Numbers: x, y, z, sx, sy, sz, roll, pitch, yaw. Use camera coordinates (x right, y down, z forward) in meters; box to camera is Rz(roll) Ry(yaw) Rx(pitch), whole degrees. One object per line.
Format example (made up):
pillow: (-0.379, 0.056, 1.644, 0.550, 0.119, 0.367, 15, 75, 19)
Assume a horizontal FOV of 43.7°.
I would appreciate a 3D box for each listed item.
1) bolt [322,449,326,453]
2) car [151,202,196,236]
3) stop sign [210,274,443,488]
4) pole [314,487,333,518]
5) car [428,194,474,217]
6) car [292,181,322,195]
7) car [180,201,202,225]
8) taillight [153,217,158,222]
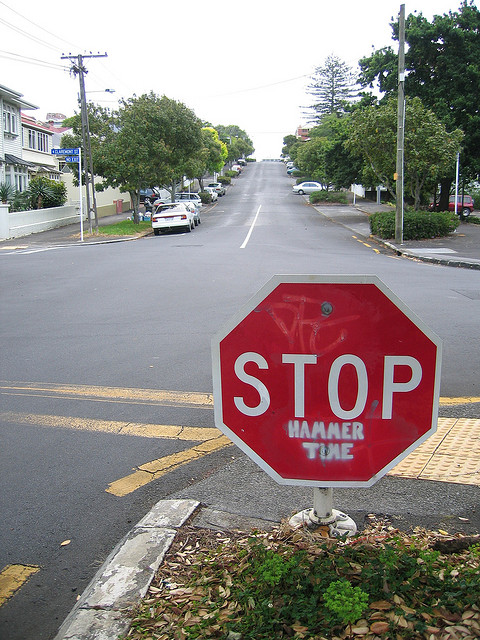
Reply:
bolt: (0.285, 0.441, 2.013, 0.015, 0.014, 0.003, 10, 1, 2)
car: (-3.697, -5.628, 33.345, 2.218, 1.717, 2.482, -3, 11, -9)
stop sign: (0.272, 0.218, 1.950, 0.723, 0.742, 0.107, 0, 11, 11)
pole: (0.335, 0.724, 2.384, 0.070, 0.161, 0.077, -1, 10, 3)
car: (15.592, -8.074, 42.260, 1.508, 1.492, 5.394, 2, 11, 19)
car: (8.014, -15.410, 69.966, 3.294, 1.480, 3.229, 6, 13, 33)
car: (-3.035, -6.766, 37.392, 0.908, 0.829, 1.959, 1, 20, 5)
taillight: (-4.464, -5.386, 32.117, 0.262, 0.257, 0.086, 0, 4, -1)
